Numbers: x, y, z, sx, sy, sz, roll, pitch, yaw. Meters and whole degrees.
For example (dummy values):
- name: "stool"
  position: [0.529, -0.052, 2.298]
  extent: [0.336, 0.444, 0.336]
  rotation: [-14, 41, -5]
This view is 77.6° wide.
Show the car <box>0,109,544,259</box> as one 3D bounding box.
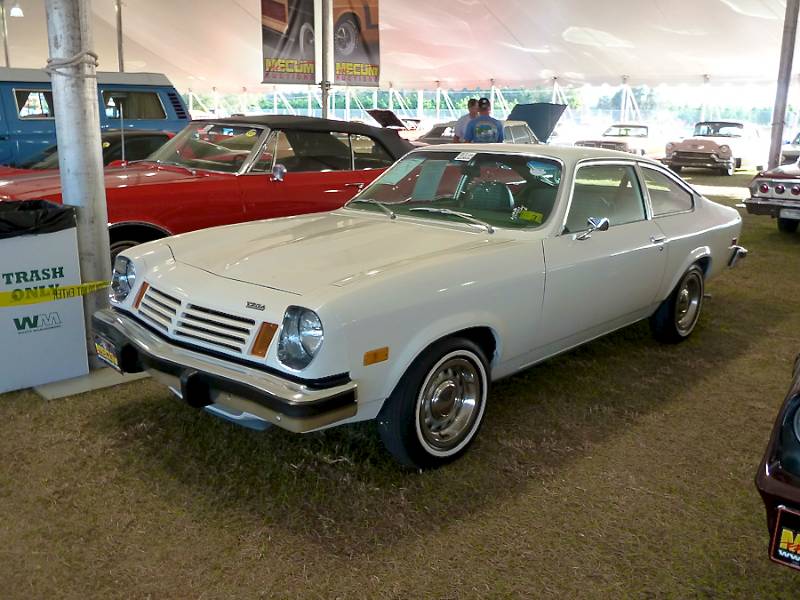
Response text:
- name: "car"
  position: [-1.970, -1.441, 5.961]
  extent: [4.548, 1.087, 1.618]
  rotation: [-8, 15, -30]

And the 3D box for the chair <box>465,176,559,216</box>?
- name: "chair"
  position: [0.874, -0.769, 3.740]
  extent: [0.547, 0.164, 0.375]
  rotation: [-13, 23, -37]

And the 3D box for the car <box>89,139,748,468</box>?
- name: "car"
  position: [0.732, -0.202, 3.862]
  extent: [4.938, 1.272, 2.196]
  rotation: [-9, 15, -35]

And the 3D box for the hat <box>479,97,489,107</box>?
- name: "hat"
  position: [1.547, -3.449, 8.651]
  extent: [0.150, 0.130, 0.181]
  rotation: [-23, 18, -19]
